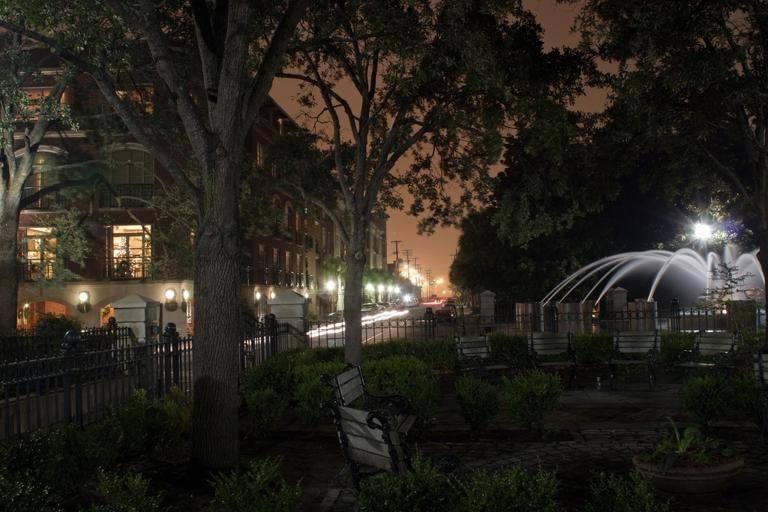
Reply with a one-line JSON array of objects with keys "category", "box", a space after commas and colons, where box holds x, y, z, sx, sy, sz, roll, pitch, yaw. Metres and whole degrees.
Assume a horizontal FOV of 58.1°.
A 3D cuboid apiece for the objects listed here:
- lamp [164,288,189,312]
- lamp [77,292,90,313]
[{"category": "lamp", "box": [-11.442, 2.437, 38.055, 1.243, 1.186, 0.482, 1, 0, -12]}, {"category": "lamp", "box": [-17.169, 2.619, 39.673, 0.629, 1.217, 0.152, -3, -7, 0]}]
